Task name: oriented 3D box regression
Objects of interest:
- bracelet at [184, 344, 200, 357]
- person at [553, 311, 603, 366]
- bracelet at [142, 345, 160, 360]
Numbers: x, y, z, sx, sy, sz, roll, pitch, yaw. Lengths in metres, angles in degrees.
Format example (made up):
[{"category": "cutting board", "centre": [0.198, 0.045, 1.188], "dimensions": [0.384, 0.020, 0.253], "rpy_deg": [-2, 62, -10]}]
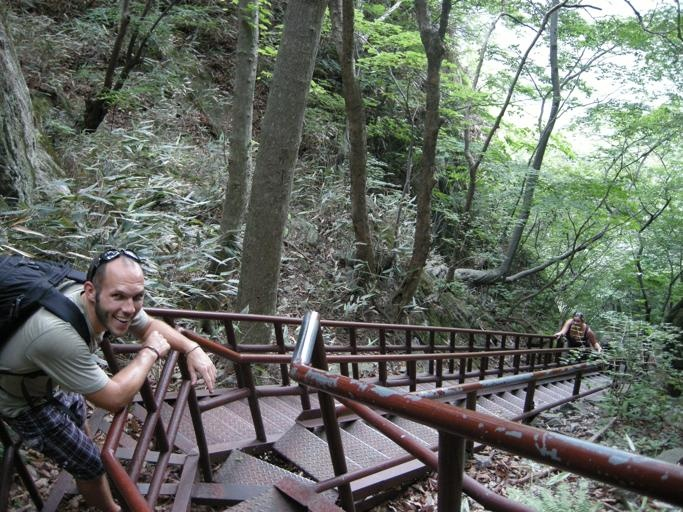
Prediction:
[{"category": "bracelet", "centre": [-1.002, 0.628, 3.146], "dimensions": [0.082, 0.028, 0.069], "rpy_deg": [-26, -3, 1]}, {"category": "person", "centre": [4.783, 1.760, 9.610], "dimensions": [0.903, 1.243, 0.724], "rpy_deg": [10, 18, 14]}, {"category": "bracelet", "centre": [-1.155, 0.585, 2.848], "dimensions": [0.085, 0.024, 0.081], "rpy_deg": [24, -17, 50]}]
